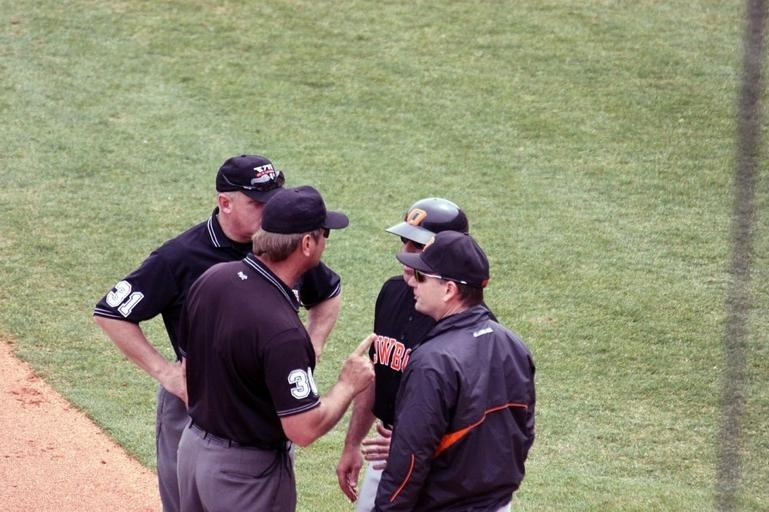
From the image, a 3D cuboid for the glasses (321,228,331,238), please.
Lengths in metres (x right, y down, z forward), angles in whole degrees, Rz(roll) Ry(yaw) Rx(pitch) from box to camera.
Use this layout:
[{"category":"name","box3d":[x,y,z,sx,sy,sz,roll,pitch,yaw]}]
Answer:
[{"category":"glasses","box3d":[-0.748,-0.255,18.842,0.078,0.100,0.105,6,3,26]}]
